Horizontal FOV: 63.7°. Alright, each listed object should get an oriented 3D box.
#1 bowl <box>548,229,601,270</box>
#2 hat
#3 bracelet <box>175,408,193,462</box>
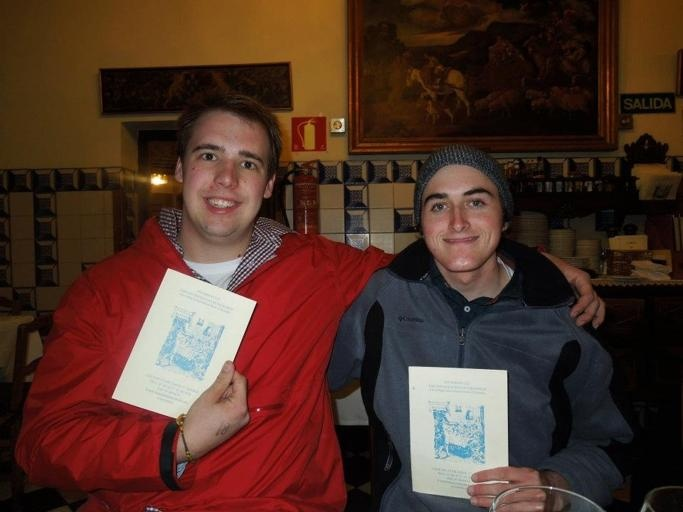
[{"bbox_3d":[1.750,-0.055,4.148,0.378,0.372,0.379,2,3,0],"label":"bowl"},{"bbox_3d":[0.527,-0.240,2.382,0.434,0.358,0.353,0,-6,7],"label":"hat"},{"bbox_3d":[-0.612,0.703,2.127,0.051,0.146,0.128,-4,-16,3],"label":"bracelet"}]
